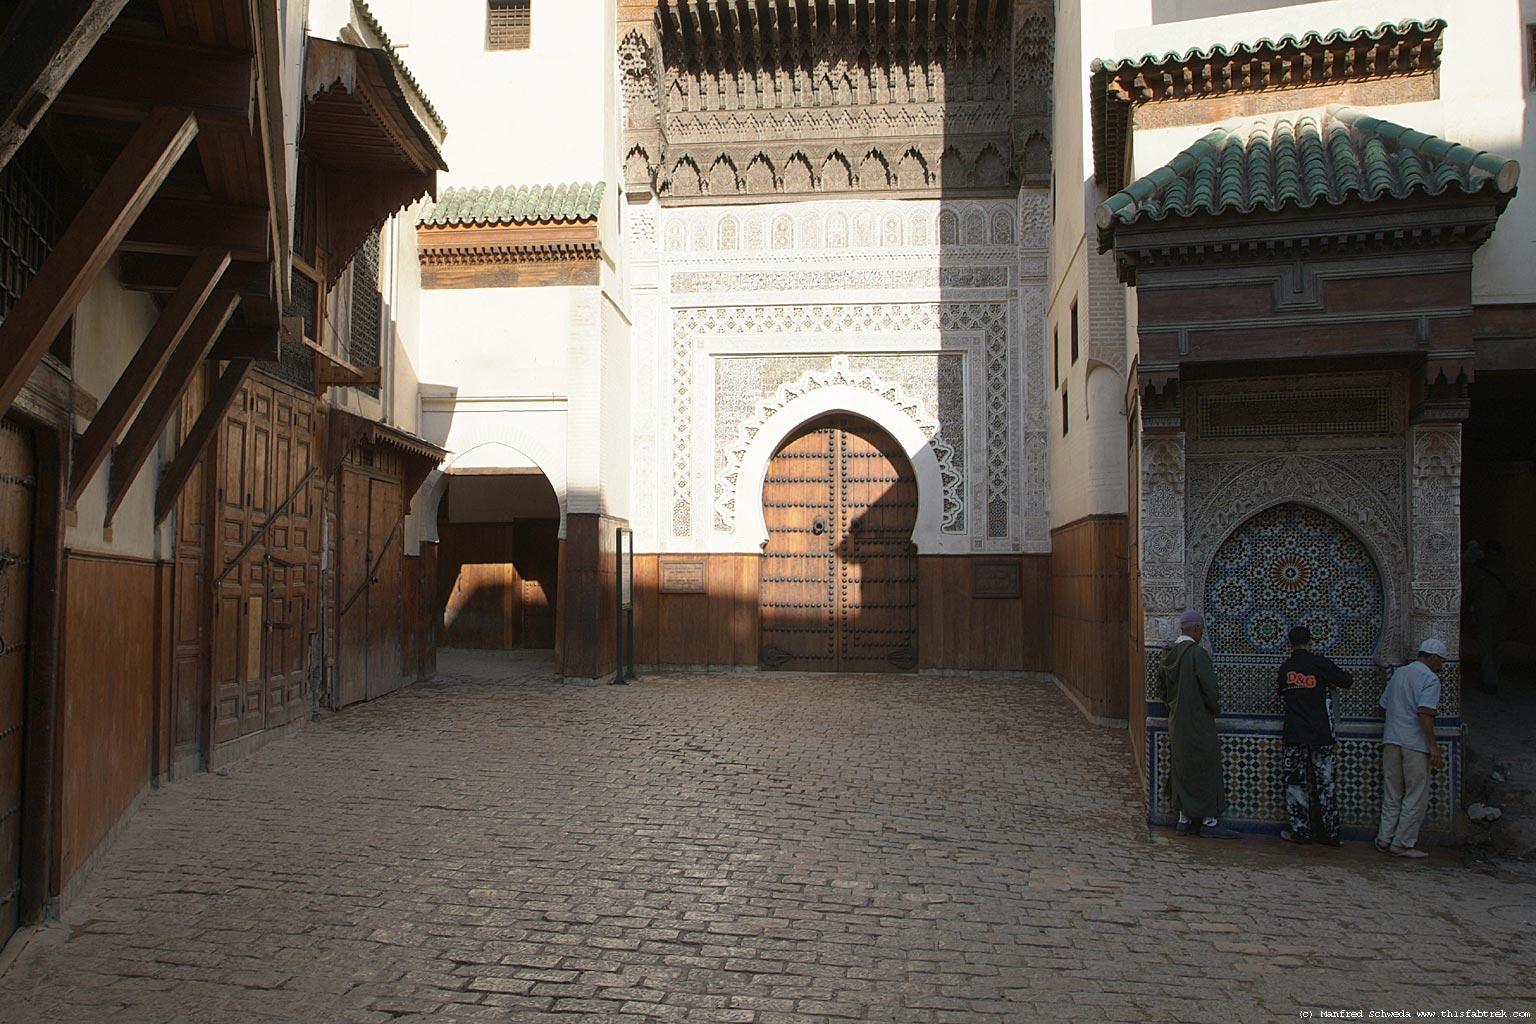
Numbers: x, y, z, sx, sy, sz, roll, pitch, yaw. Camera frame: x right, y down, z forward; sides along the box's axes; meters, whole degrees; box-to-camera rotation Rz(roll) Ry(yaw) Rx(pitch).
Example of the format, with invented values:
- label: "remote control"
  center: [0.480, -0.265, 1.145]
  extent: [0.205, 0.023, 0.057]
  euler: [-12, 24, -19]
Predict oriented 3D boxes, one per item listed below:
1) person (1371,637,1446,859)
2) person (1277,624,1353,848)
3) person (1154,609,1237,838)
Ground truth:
- label: "person"
  center: [4.835, 1.741, 9.601]
  extent: [0.404, 1.585, 0.466]
  euler: [3, 6, 28]
- label: "person"
  center: [4.185, 1.698, 9.810]
  extent: [0.501, 1.587, 0.261]
  euler: [3, 5, 22]
- label: "person"
  center: [3.307, 1.719, 9.969]
  extent: [0.524, 1.443, 0.319]
  euler: [2, 5, 18]
